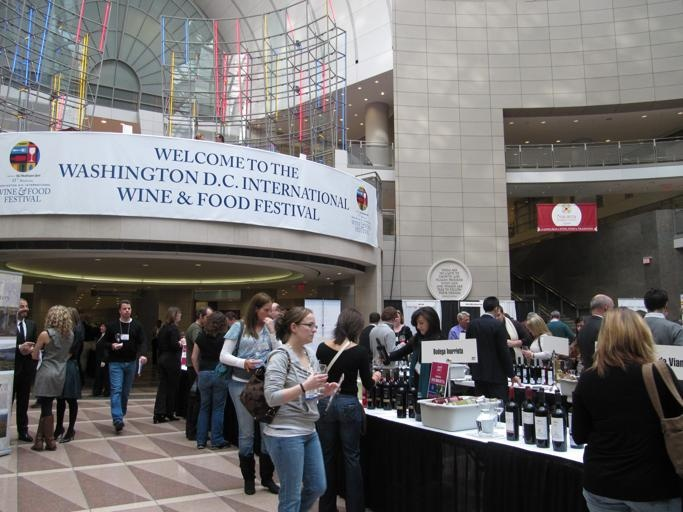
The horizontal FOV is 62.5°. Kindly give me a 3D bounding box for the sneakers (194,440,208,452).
[{"bbox_3d":[-1.818,2.451,7.253,0.075,0.100,0.233,1,-18,-3],"label":"sneakers"}]

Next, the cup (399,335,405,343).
[{"bbox_3d":[0.902,1.249,8.505,0.091,0.145,0.092,0,-13,0],"label":"cup"}]

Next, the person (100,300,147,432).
[{"bbox_3d":[-3.103,1.584,8.063,0.503,1.852,0.536,-2,-7,35],"label":"person"}]

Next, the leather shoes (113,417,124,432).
[{"bbox_3d":[-3.170,2.414,8.011,0.106,0.139,0.323,3,-41,-28],"label":"leather shoes"}]

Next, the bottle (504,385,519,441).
[{"bbox_3d":[1.432,1.328,4.747,0.109,0.417,0.222,0,-6,17],"label":"bottle"}]

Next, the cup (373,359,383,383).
[{"bbox_3d":[0.374,1.199,5.811,0.077,0.195,0.143,-4,-2,0],"label":"cup"}]

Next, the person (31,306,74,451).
[{"bbox_3d":[-3.726,1.546,7.199,0.457,1.830,0.485,4,-6,-27],"label":"person"}]

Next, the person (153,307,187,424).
[{"bbox_3d":[-2.700,1.700,8.787,0.382,1.803,0.661,3,-6,-17],"label":"person"}]

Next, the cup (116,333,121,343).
[{"bbox_3d":[-3.144,1.141,7.916,0.060,0.108,0.073,5,-6,-28],"label":"cup"}]

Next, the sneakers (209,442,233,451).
[{"bbox_3d":[-1.567,2.432,7.295,0.265,0.114,0.101,-2,0,-33],"label":"sneakers"}]

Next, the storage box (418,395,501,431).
[{"bbox_3d":[1.057,1.391,5.026,0.443,0.150,0.356,5,-9,-33],"label":"storage box"}]

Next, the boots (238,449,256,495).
[{"bbox_3d":[-0.986,2.274,5.907,0.184,0.405,0.153,-1,-6,22],"label":"boots"}]

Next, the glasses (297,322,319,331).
[{"bbox_3d":[-0.290,0.538,4.346,0.117,0.037,0.122,14,-12,-41],"label":"glasses"}]

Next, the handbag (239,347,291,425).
[{"bbox_3d":[-0.581,1.012,4.391,0.240,0.604,0.430,10,-18,3],"label":"handbag"}]

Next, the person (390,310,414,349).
[{"bbox_3d":[0.922,1.229,8.732,0.299,0.288,0.899,5,1,4],"label":"person"}]

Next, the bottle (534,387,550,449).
[{"bbox_3d":[1.611,1.302,4.549,0.116,0.464,0.210,0,-6,21],"label":"bottle"}]

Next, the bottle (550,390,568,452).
[{"bbox_3d":[1.720,1.302,4.470,0.114,0.459,0.236,0,-6,22],"label":"bottle"}]
